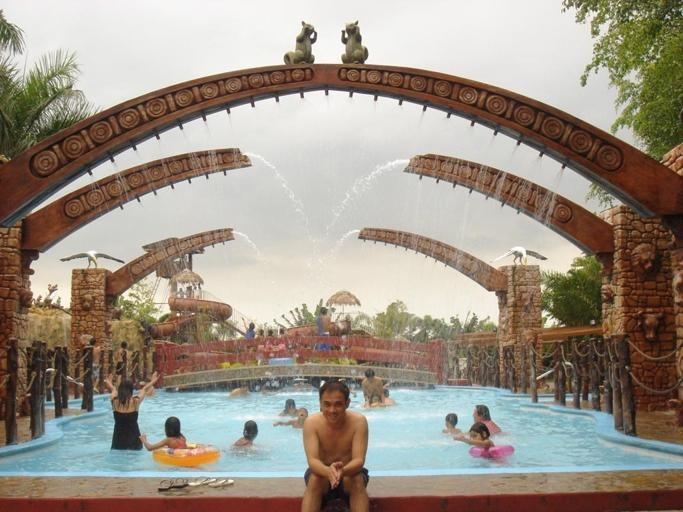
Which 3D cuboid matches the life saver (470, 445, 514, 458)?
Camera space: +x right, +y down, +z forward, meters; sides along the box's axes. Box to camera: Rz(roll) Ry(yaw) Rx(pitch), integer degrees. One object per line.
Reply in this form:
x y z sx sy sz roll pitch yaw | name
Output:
2.618 3.337 10.516 0.758 0.202 0.353 0 -15 -12 | life saver

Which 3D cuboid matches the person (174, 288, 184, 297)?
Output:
-7.628 1.695 28.942 0.678 0.713 0.166 1 0 41 | person

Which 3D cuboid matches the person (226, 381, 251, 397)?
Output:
-3.336 4.472 20.005 0.751 0.570 0.463 -10 14 -12 | person

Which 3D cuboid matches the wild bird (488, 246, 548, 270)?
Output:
6.135 -0.042 20.910 1.124 0.799 1.923 -11 -17 30 | wild bird

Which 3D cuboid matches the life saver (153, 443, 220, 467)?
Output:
-2.495 3.220 9.887 1.014 0.317 0.534 1 -15 -15 | life saver

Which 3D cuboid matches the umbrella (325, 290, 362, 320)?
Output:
0.060 1.820 24.665 1.199 1.031 0.709 -2 -13 -5 | umbrella

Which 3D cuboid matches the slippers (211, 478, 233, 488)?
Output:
-1.512 2.914 7.924 0.266 0.092 0.272 -8 -16 17 | slippers

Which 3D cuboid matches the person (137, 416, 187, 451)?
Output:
-2.972 3.023 10.150 0.758 0.689 0.590 14 -23 -17 | person
